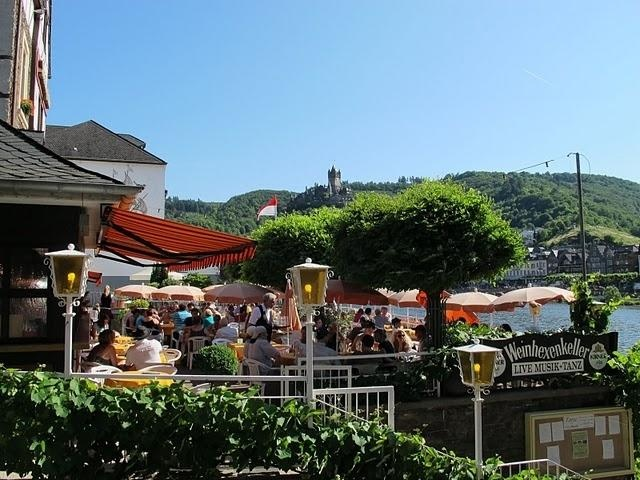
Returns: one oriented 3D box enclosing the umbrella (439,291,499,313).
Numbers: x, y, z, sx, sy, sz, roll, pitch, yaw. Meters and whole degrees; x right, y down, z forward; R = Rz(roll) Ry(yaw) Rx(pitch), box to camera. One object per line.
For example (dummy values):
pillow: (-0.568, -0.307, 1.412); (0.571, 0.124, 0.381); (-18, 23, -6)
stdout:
umbrella: (4.036, 1.705, 18.541); (1.289, 0.500, 1.338); (1, -8, 5)

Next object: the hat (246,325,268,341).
hat: (-1.130, 1.704, 12.538); (0.463, 0.373, 0.338); (-2, -1, -9)

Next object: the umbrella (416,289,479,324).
umbrella: (3.887, 2.071, 19.611); (1.631, 0.646, 1.669); (2, 1, 38)

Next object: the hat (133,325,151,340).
hat: (-2.841, 1.485, 10.881); (0.221, 0.234, 0.357); (4, -13, -20)

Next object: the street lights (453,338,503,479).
street lights: (1.943, 2.038, 8.286); (0.495, 1.593, 0.459); (-3, -13, 11)
